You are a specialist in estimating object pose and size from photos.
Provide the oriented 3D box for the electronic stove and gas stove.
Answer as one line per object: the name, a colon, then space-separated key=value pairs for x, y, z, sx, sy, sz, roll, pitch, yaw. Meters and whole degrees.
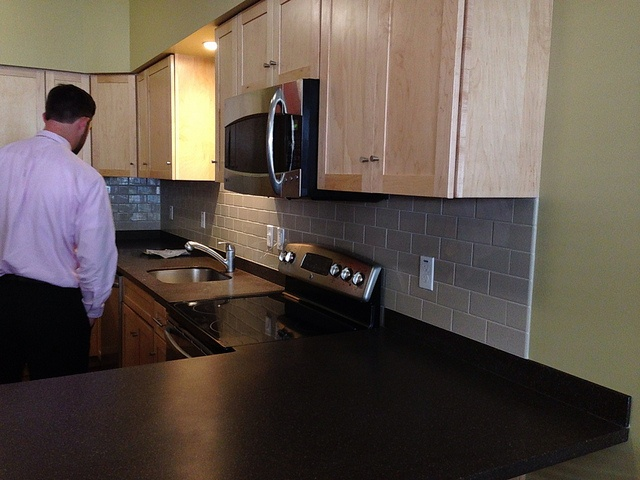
electronic stove and gas stove: x=-0.273 y=0.385 z=2.393 sx=0.632 sy=0.101 sz=0.746 roll=-5 pitch=13 yaw=-34

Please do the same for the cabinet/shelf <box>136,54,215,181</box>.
cabinet/shelf: x=-0.989 y=-0.872 z=3.673 sx=0.348 sy=0.893 sz=0.960 roll=0 pitch=2 yaw=-20

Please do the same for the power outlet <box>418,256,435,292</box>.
power outlet: x=0.413 y=0.129 z=2.038 sx=0.017 sy=0.129 sz=0.079 roll=-3 pitch=10 yaw=-27
